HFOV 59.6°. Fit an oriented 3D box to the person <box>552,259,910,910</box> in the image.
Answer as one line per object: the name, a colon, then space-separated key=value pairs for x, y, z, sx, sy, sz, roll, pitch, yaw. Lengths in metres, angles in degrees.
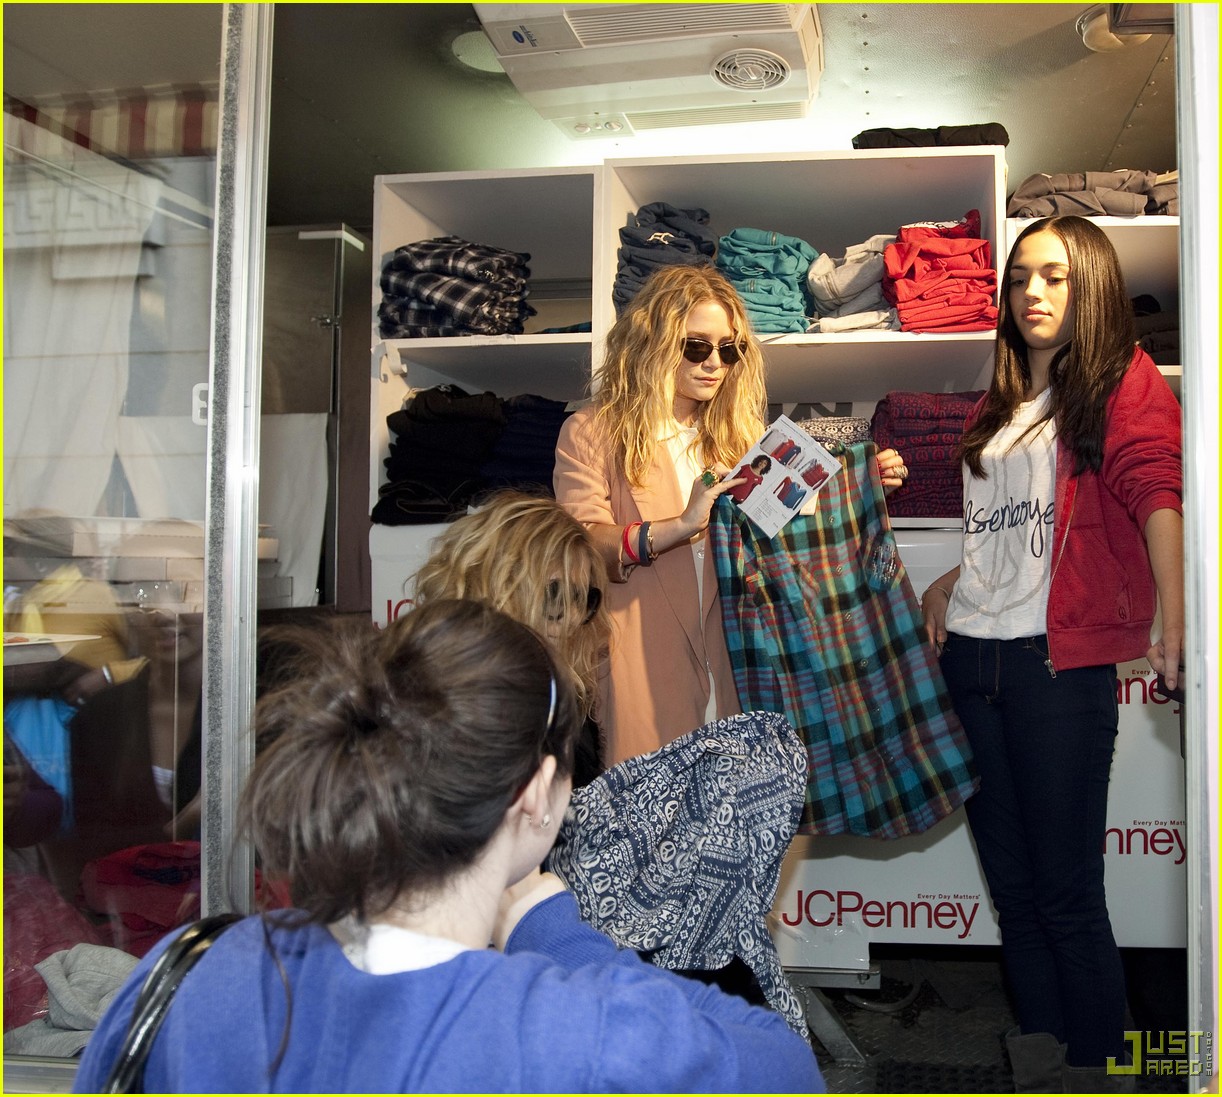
person: x=0.182 y=0.116 z=2.485 sx=0.505 sy=1.435 sz=0.485 roll=-6 pitch=14 yaw=-12

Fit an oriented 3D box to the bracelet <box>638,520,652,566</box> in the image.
bracelet: x=0.070 y=-0.007 z=2.216 sx=0.031 sy=0.061 sz=0.047 roll=2 pitch=14 yaw=-9

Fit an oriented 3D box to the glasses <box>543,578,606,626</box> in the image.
glasses: x=-0.057 y=0.080 z=1.591 sx=0.058 sy=0.052 sz=0.081 roll=1 pitch=6 yaw=0
